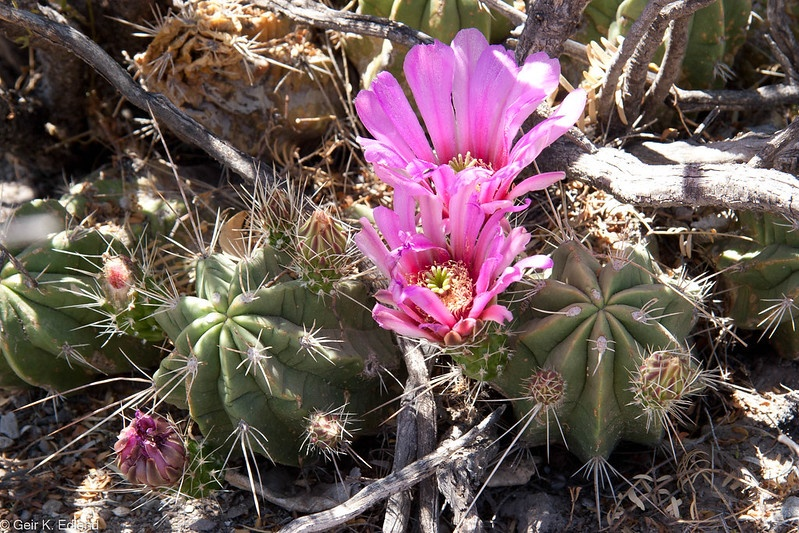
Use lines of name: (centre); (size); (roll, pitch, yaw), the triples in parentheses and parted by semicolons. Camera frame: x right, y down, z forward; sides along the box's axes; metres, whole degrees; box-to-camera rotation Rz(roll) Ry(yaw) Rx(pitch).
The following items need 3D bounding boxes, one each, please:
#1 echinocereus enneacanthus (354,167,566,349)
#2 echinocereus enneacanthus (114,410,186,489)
echinocereus enneacanthus: (0.142, -0.061, 2.166); (0.499, 0.312, 0.484); (-12, 23, -7)
echinocereus enneacanthus: (-0.805, 0.609, 2.400); (0.219, 0.238, 0.141); (12, 38, 4)
